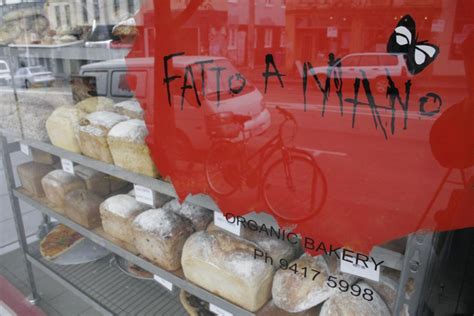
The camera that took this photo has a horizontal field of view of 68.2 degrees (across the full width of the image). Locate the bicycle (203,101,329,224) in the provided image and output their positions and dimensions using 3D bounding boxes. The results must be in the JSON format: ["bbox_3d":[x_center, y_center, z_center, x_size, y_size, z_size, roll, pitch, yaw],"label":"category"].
[{"bbox_3d":[0.099,0.040,1.422,0.550,0.511,0.029,9,25,29],"label":"bicycle"}]
